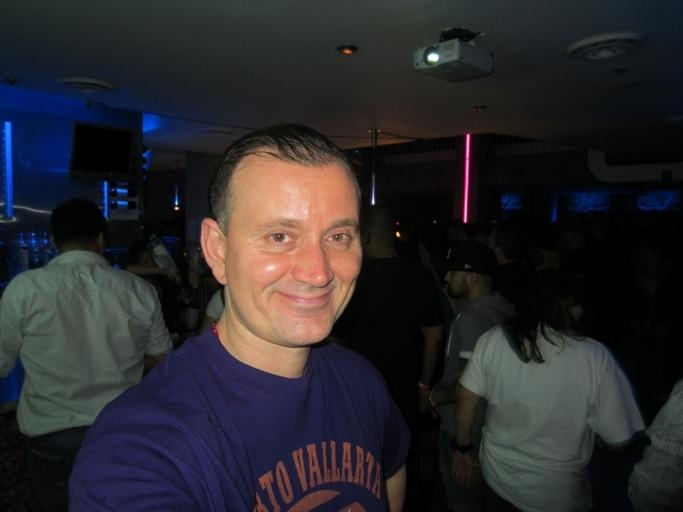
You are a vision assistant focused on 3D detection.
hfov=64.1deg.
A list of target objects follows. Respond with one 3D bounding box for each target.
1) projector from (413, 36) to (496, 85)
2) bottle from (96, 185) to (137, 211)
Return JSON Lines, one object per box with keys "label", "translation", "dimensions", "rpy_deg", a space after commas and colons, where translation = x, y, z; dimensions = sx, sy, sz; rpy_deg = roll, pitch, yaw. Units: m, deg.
{"label": "projector", "translation": [0.772, -1.407, 3.941], "dimensions": [0.455, 0.221, 0.463], "rpy_deg": [-5, 7, -43]}
{"label": "bottle", "translation": [-2.287, -0.605, 5.626], "dimensions": [0.392, 0.241, 0.092], "rpy_deg": [-6, 10, -41]}
